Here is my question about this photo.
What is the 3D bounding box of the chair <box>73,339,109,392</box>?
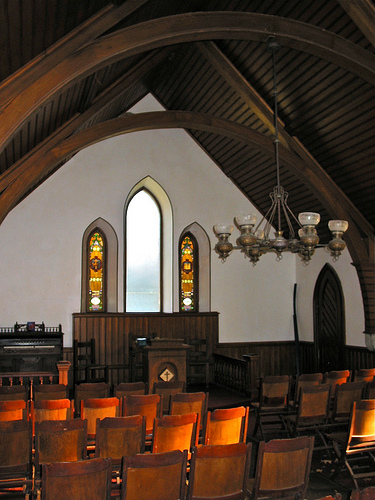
[{"bbox_3d":[-1.645,1.997,10.148,0.542,0.836,0.557,2,-8,-34],"label":"chair"}]

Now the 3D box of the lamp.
[{"bbox_3d":[1.098,-1.127,7.176,1.434,2.450,1.387,-6,-11,29],"label":"lamp"}]
